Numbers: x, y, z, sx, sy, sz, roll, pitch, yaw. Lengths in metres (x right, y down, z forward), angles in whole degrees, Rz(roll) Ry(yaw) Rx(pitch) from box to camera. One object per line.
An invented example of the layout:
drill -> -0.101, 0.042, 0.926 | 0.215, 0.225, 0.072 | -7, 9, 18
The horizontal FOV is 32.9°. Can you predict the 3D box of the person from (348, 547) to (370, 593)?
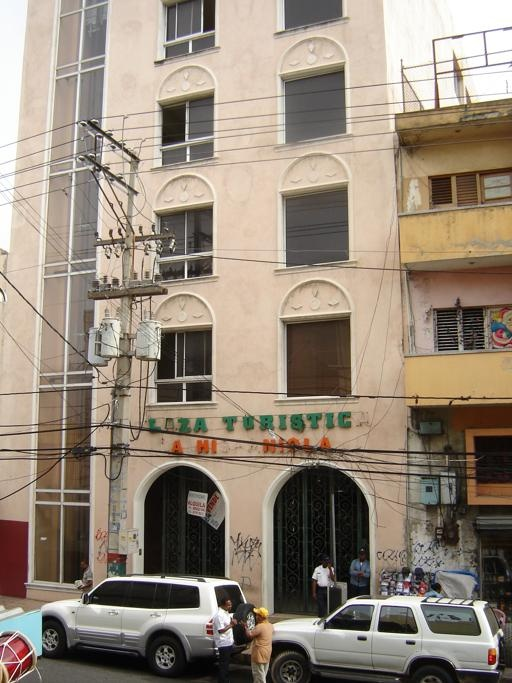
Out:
person -> 2.358, 5.270, 19.731 | 0.455, 1.062, 0.607 | 0, -16, 2
